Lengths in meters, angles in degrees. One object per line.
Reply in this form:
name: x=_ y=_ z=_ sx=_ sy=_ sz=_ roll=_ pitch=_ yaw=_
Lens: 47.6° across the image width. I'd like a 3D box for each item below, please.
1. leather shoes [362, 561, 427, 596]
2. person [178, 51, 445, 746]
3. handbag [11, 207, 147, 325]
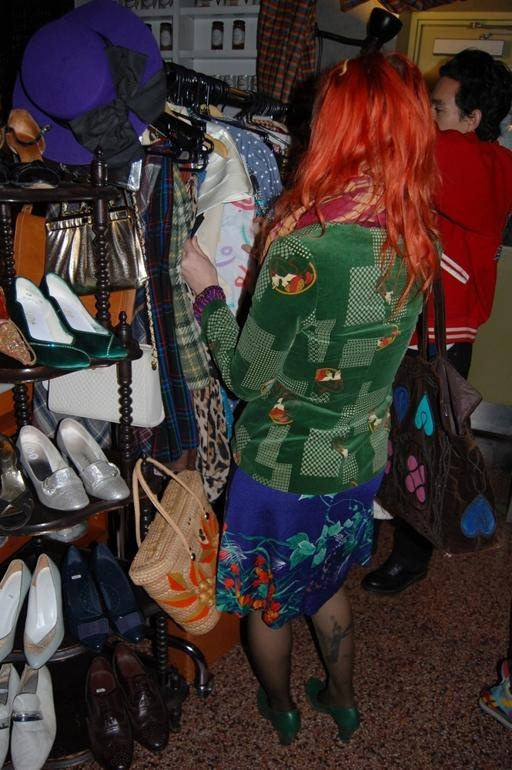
leather shoes: x=0.511 y=0.719 z=2.238 sx=0.232 sy=0.156 sz=0.101 roll=1 pitch=10 yaw=-20
person: x=0.126 y=-0.002 z=1.052 sx=0.365 sy=1.036 sz=0.297 roll=5 pitch=33 yaw=-3
handbag: x=-0.369 y=-0.250 z=1.246 sx=0.282 sy=0.261 sz=0.101 roll=9 pitch=18 yaw=27
